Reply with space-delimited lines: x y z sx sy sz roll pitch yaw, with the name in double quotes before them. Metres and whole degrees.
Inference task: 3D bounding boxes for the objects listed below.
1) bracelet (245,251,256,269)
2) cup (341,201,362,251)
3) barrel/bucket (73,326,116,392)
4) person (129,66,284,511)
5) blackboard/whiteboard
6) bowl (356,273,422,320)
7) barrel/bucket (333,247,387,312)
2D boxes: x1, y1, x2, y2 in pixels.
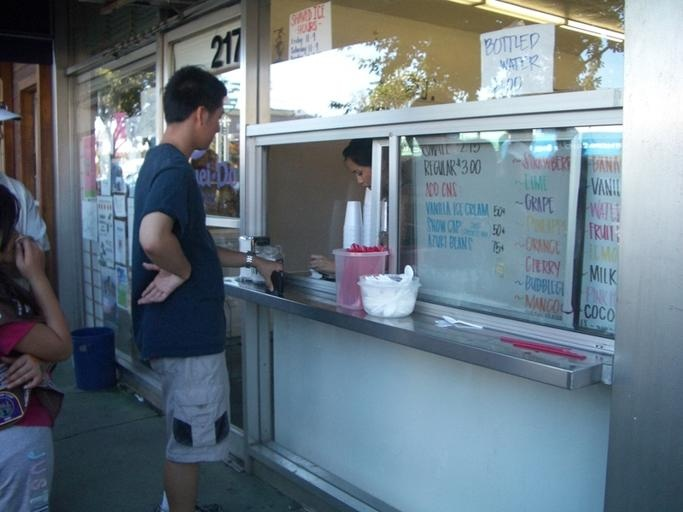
"bracelet" -0.442 0.023 2.524 0.044 0.072 0.065 5 3 -3
"cup" 0.053 -0.143 2.468 0.086 0.215 0.194 2 9 18
"barrel/bucket" -2.006 0.833 4.228 0.273 0.450 0.362 1 10 18
"person" -0.635 0.236 2.277 0.523 2.074 0.452 -7 10 -38
"blackboard/whiteboard" 0.573 -0.128 2.010 0.009 0.685 0.880 -7 9 -35
"bowl" 0.195 0.157 2.169 0.298 0.179 0.306 -1 4 0
"barrel/bucket" 0.057 0.096 2.191 0.230 0.255 0.232 0 1 0
